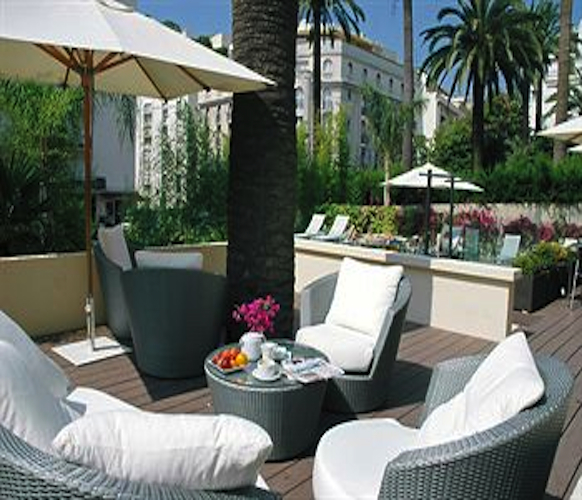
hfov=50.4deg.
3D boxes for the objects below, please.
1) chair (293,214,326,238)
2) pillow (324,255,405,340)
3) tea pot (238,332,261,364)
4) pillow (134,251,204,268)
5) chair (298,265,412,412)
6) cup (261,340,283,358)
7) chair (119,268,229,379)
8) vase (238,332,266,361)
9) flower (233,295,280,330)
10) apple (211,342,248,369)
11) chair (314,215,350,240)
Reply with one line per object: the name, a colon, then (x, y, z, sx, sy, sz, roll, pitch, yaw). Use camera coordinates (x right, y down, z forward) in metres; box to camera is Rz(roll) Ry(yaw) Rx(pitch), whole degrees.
chair: (0.345, -0.442, 10.938, 0.253, 0.459, 0.798, 6, 6, 28)
pillow: (0.555, 0.337, 4.547, 0.140, 0.610, 0.473, 15, -3, -34)
tea pot: (-0.274, 0.645, 4.065, 0.115, 0.215, 0.149, 1, -3, -4)
pillow: (-0.894, 0.074, 4.513, 0.468, 0.146, 0.143, -2, 5, -2)
chair: (0.419, 0.657, 4.577, 0.888, 1.247, 0.821, 7, 0, -43)
cup: (-0.127, 0.629, 4.004, 0.085, 0.097, 0.089, 0, 7, 0)
chair: (-0.872, 0.441, 4.739, 0.568, 0.896, 0.754, 4, 4, 27)
vase: (-0.256, 0.625, 4.028, 0.119, 0.224, 0.155, 1, -3, -2)
flower: (-0.241, 0.428, 4.213, 0.299, 0.300, 0.301, 5, -1, -39)
apple: (-0.392, 0.678, 3.922, 0.126, 0.080, 0.144, -11, 21, -26)
chair: (0.714, -0.371, 10.512, 0.347, 0.557, 0.699, 4, 8, 41)
